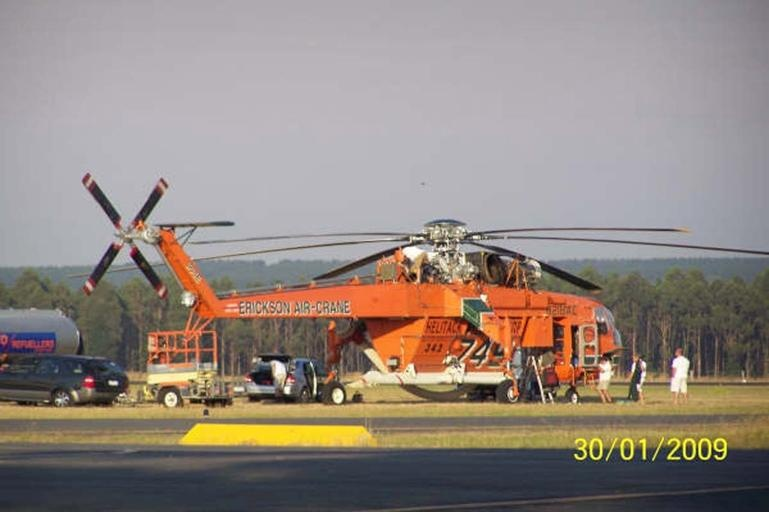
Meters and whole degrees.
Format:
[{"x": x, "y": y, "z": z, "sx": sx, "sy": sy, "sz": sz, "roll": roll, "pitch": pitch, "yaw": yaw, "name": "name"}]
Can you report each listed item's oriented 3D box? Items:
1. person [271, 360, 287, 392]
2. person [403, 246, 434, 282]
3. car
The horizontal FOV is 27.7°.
[{"x": -5.354, "y": 6.199, "z": 79.720, "sx": 0.816, "sy": 1.505, "sz": 0.364, "roll": -4, "pitch": -3, "yaw": 2, "name": "person"}, {"x": 1.743, "y": 0.459, "z": 78.941, "sx": 1.390, "sy": 1.850, "sz": 0.909, "roll": 4, "pitch": -10, "yaw": -36, "name": "person"}, {"x": -4.650, "y": 6.385, "z": 79.639, "sx": 3.876, "sy": 1.661, "sz": 2.644, "roll": -3, "pitch": 4, "yaw": -29, "name": "car"}]
